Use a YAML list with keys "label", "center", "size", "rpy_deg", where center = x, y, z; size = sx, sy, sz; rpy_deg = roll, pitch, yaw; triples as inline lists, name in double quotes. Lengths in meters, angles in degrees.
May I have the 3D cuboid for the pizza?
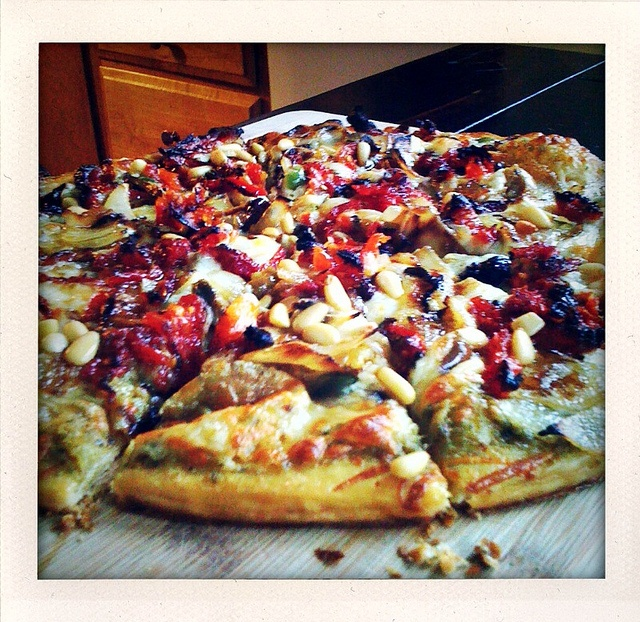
- label: "pizza"
  center: [0.017, -0.020, 1.047]
  size: [0.979, 0.615, 0.417]
  rpy_deg: [-4, 15, 1]
